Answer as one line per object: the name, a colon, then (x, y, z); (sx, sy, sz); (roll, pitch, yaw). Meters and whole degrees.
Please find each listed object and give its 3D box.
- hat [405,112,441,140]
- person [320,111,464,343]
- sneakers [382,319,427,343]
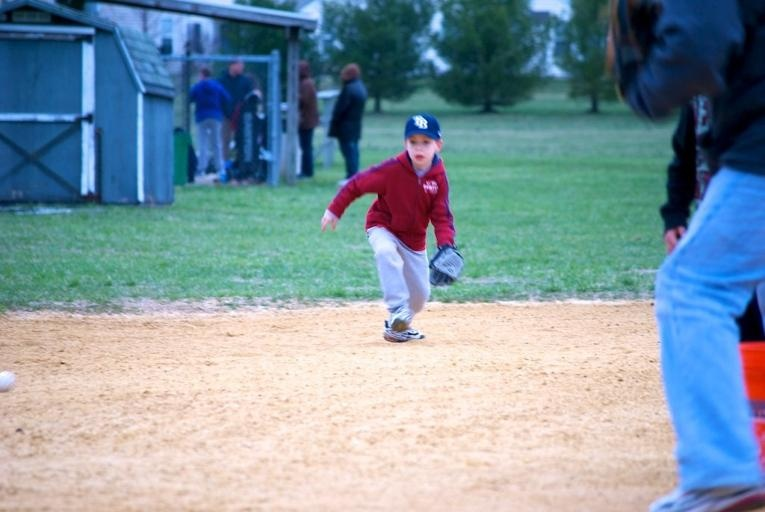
hat: (0.243, -0.798, 7.245); (0.211, 0.152, 0.243); (1, 13, -1)
person: (0.066, -0.180, 7.206); (0.772, 1.353, 0.748); (-1, 15, -11)
sneakers: (0.169, 0.460, 7.132); (0.316, 0.111, 0.097); (0, 7, -24)
